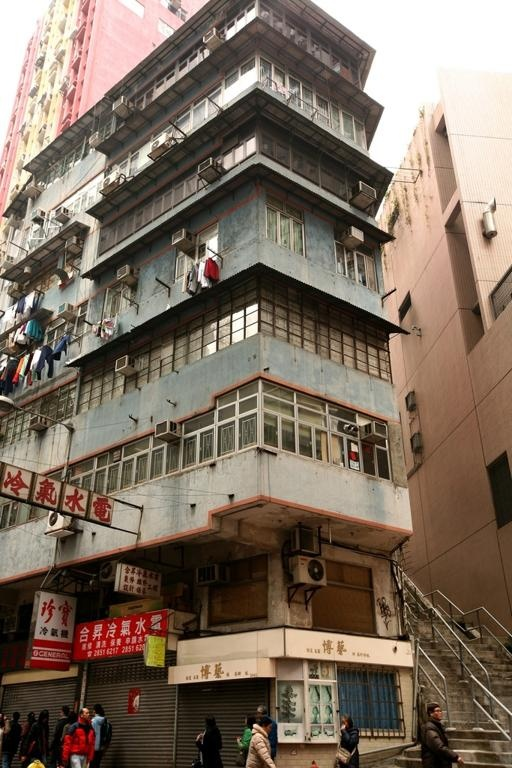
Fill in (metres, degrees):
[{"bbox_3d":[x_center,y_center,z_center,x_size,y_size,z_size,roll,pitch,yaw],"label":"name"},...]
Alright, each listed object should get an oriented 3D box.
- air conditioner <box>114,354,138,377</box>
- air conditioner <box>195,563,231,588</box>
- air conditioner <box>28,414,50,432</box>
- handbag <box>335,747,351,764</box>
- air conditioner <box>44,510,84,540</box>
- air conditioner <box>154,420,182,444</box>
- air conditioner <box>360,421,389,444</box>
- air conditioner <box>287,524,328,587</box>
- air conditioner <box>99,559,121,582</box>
[{"bbox_3d":[-3.996,-0.519,16.241,0.608,0.618,0.615,11,-48,-20],"label":"air conditioner"},{"bbox_3d":[-1.018,4.523,12.529,0.472,0.546,0.978,21,-27,-40],"label":"air conditioner"},{"bbox_3d":[-7.763,1.406,18.885,0.339,0.621,0.635,16,-41,-32],"label":"air conditioner"},{"bbox_3d":[1.130,4.897,6.940,0.123,0.186,0.270,22,-37,-33],"label":"handbag"},{"bbox_3d":[-5.432,3.962,14.945,0.713,0.588,0.972,26,-40,-38],"label":"air conditioner"},{"bbox_3d":[-2.245,1.176,13.298,0.600,0.555,0.448,-20,-35,29],"label":"air conditioner"},{"bbox_3d":[3.006,1.266,13.562,0.236,0.311,0.449,-28,-43,34],"label":"air conditioner"},{"bbox_3d":[1.095,3.773,11.596,0.806,1.327,0.504,16,-33,-27],"label":"air conditioner"},{"bbox_3d":[-3.975,5.038,14.192,0.306,0.505,1.042,17,-35,-28],"label":"air conditioner"}]
